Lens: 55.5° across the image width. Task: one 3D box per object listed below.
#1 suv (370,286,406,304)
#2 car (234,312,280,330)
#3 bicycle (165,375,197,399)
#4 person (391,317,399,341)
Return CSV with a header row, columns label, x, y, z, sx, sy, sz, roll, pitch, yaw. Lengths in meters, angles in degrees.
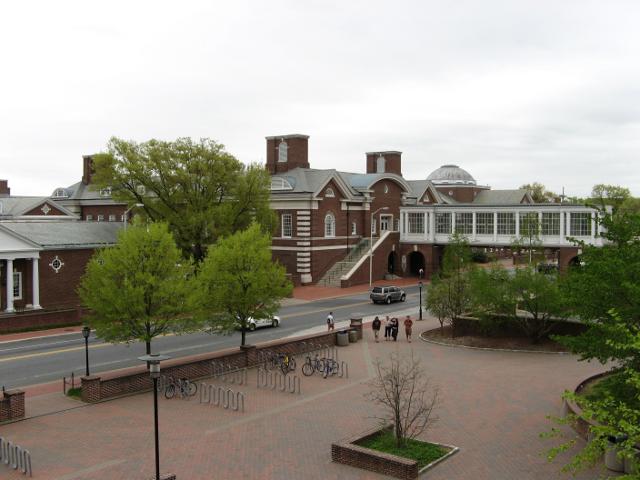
label,x,y,z,sx,sy,sz,roll,pitch,yaw
suv,5.900,4.679,52.524,3.132,1.470,1.089,-3,4,-36
car,-4.056,5.325,40.735,2.785,0.947,1.261,-4,3,-25
bicycle,-6.084,6.399,26.341,0.918,0.590,0.941,1,-1,25
person,4.605,5.530,37.770,0.386,1.288,1.205,0,3,4
